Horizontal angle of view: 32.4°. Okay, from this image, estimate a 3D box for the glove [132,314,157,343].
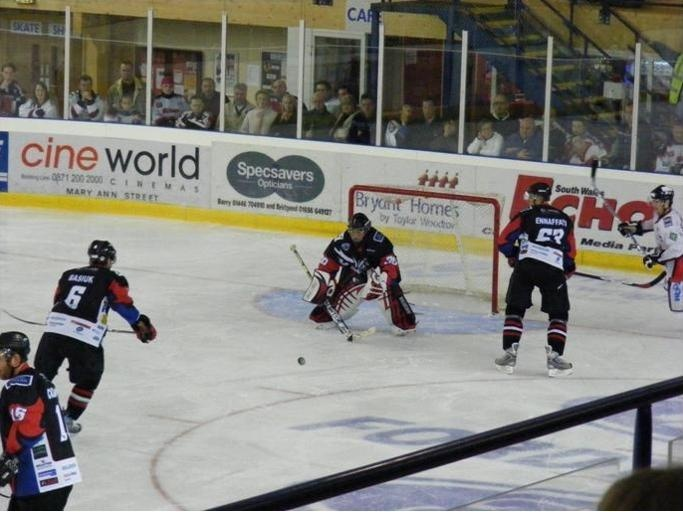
[{"bbox_3d":[-1.668,0.617,10.157,0.189,0.251,0.112,-8,23,33],"label":"glove"}]

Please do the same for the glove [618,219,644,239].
[{"bbox_3d":[3.269,-0.309,13.278,0.215,0.137,0.285,-1,-3,37],"label":"glove"}]

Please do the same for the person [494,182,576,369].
[{"bbox_3d":[1.860,0.295,11.380,0.739,1.563,0.723,2,8,8],"label":"person"}]

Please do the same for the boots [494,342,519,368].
[{"bbox_3d":[1.585,0.940,11.373,0.206,0.283,0.391,2,7,8],"label":"boots"}]

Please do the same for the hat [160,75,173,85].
[{"bbox_3d":[-2.573,-2.592,17.268,0.128,0.115,0.155,-1,18,-1],"label":"hat"}]

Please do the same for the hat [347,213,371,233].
[{"bbox_3d":[0.173,-0.326,12.125,0.181,0.168,0.198,-3,-39,20],"label":"hat"}]

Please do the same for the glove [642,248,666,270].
[{"bbox_3d":[3.442,0.008,13.029,0.217,0.255,0.108,25,42,-16],"label":"glove"}]

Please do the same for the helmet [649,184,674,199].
[{"bbox_3d":[3.473,-0.694,12.821,0.217,0.158,0.153,18,8,12],"label":"helmet"}]

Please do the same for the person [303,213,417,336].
[{"bbox_3d":[0.217,0.200,12.365,1.336,1.203,0.860,3,14,33],"label":"person"}]

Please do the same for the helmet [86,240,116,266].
[{"bbox_3d":[-2.066,-0.023,10.110,0.211,0.220,0.245,7,12,23],"label":"helmet"}]
